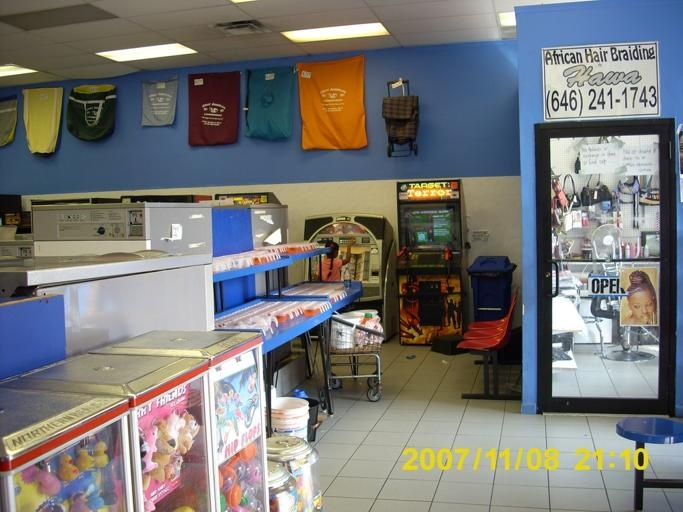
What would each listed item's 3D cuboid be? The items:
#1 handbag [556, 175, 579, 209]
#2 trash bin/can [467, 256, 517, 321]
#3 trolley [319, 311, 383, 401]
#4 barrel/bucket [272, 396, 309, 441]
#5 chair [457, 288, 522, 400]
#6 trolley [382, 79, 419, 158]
[{"bbox_3d":[2.100,-0.574,4.961,0.181,0.432,0.051,11,-31,12],"label":"handbag"},{"bbox_3d":[1.999,0.460,7.061,0.668,0.903,0.709,-2,4,5],"label":"trash bin/can"},{"bbox_3d":[0.197,1.029,5.672,0.667,0.886,0.593,-3,-13,2],"label":"trolley"},{"bbox_3d":[-0.359,1.095,3.760,0.280,0.309,0.288,1,0,0],"label":"barrel/bucket"},{"bbox_3d":[1.720,1.046,6.262,0.477,0.654,1.134,1,0,9],"label":"chair"},{"bbox_3d":[0.911,-2.150,8.183,0.558,1.215,0.586,-2,4,7],"label":"trolley"}]
